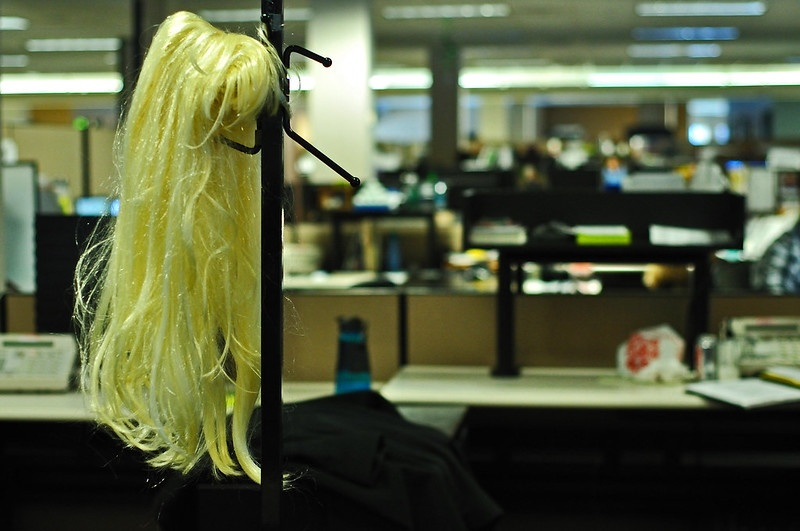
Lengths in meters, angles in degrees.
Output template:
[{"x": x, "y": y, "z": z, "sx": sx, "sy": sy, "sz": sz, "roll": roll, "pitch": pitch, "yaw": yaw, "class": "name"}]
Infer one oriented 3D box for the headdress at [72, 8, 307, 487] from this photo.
[{"x": -0.536, "y": -0.034, "z": 2.362, "sx": 0.516, "sy": 1.152, "sz": 0.191, "roll": -1, "pitch": 4, "yaw": -10, "class": "headdress"}]
